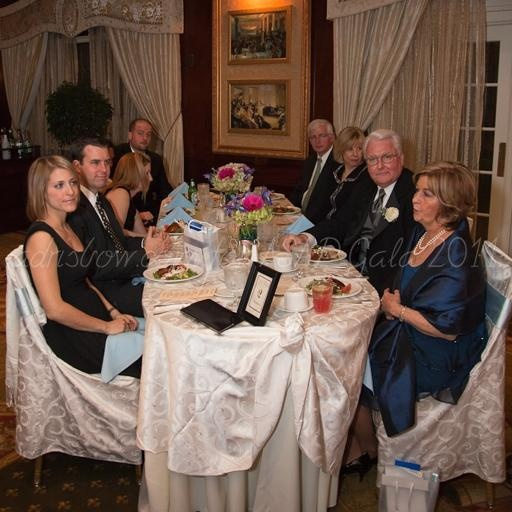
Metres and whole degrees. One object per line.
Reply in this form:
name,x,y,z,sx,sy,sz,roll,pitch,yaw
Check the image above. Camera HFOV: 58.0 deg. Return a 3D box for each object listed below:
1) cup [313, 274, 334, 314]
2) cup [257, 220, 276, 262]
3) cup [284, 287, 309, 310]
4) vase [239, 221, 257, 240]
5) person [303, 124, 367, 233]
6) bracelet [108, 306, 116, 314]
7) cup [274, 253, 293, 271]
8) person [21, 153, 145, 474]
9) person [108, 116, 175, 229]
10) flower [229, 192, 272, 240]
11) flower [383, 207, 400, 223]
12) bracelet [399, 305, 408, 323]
cup,0.236,0.155,1.659,0.072,0.102,0.070,-1,3,0
cup,0.051,-0.076,2.388,0.115,0.188,0.159,1,21,1
cup,0.141,0.150,1.653,0.084,0.055,0.062,-1,8,-9
vase,-0.042,-0.131,2.351,0.082,0.086,0.081,4,0,-2
person,0.656,-0.516,3.816,0.619,1.015,0.434,-9,30,-10
bracelet,-0.727,0.271,2.308,0.032,0.023,0.035,-12,6,-4
cup,0.118,0.028,2.054,0.084,0.056,0.064,-3,5,-40
person,-0.742,0.251,2.145,0.607,1.339,0.471,2,17,-7
person,-1.275,-0.752,5.108,0.761,1.410,0.681,12,21,14
flower,-0.017,-0.218,2.425,0.232,0.246,0.235,-12,21,-38
flower,0.762,-0.241,2.610,0.025,0.080,0.080,22,12,-13
bracelet,0.599,0.244,1.880,0.043,0.046,0.017,-3,3,-44
